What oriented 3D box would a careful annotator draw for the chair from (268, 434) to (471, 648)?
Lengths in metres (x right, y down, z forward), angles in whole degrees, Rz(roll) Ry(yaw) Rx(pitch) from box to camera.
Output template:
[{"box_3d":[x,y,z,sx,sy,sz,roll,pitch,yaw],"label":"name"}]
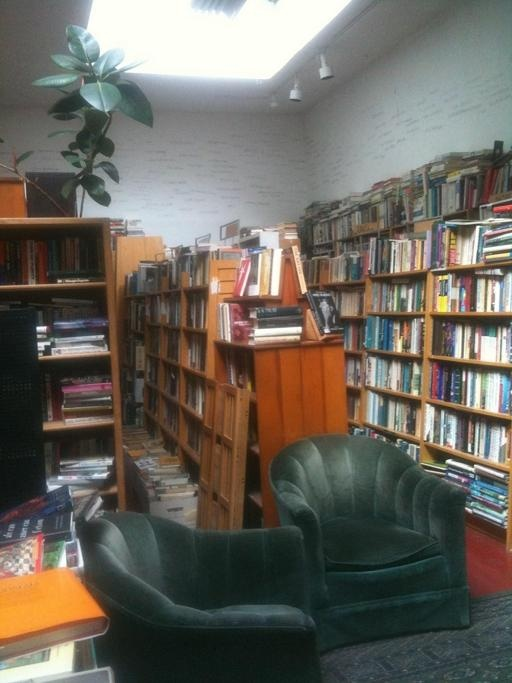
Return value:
[{"box_3d":[0.450,0.855,2.392,0.767,0.679,0.837,-4,-1,-22],"label":"chair"}]
